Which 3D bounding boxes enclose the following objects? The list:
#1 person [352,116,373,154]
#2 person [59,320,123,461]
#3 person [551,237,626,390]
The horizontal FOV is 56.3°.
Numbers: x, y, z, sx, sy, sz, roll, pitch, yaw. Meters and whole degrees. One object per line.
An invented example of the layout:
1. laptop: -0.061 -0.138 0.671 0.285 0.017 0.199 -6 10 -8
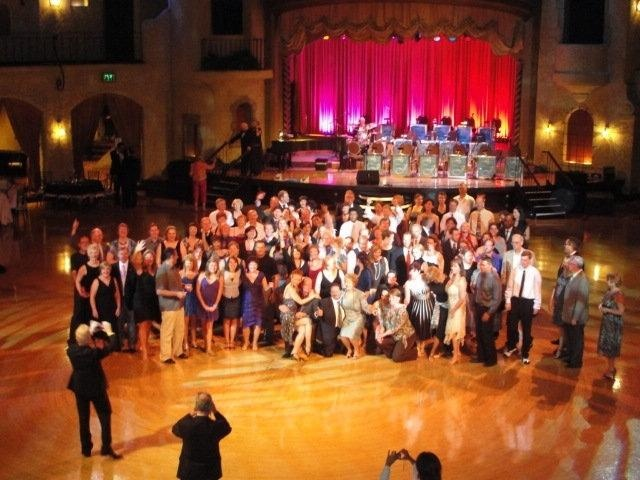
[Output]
1. person: 1.630 -3.985 23.570 0.685 1.722 0.883 -1 6 -33
2. person: -2.472 1.620 6.477 0.508 1.543 0.296 -3 13 -15
3. person: 4.148 1.196 9.221 0.527 1.713 1.412 -4 17 -13
